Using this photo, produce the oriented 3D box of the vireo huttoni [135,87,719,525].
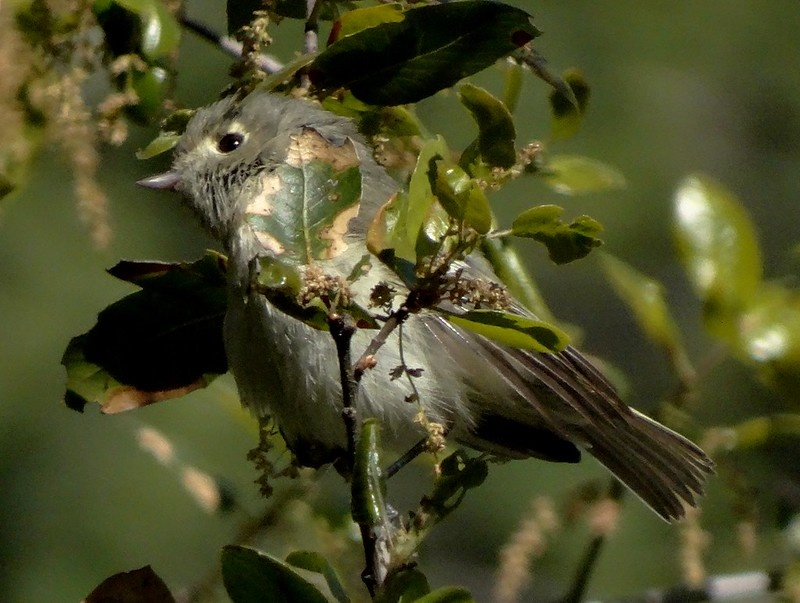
[{"bbox_3d":[0.076,0.055,2.947,1.411,0.892,0.489,8,-15,-13],"label":"vireo huttoni"}]
